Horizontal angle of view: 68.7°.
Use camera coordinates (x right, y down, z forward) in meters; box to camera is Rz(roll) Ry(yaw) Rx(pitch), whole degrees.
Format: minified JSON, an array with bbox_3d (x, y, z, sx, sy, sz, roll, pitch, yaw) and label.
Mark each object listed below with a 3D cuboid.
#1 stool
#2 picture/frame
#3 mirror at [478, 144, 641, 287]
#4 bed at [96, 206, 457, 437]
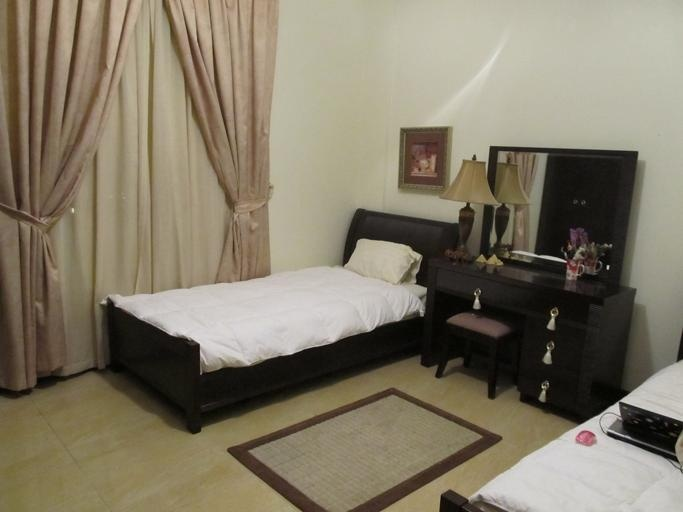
[{"bbox_3d":[1.082,0.650,4.003,0.584,0.638,0.639,-4,14,-38],"label":"stool"},{"bbox_3d":[0.804,-0.928,4.707,0.669,0.806,0.084,8,10,44],"label":"picture/frame"},{"bbox_3d":[1.677,-0.304,3.778,0.926,0.997,0.064,15,19,40],"label":"mirror"},{"bbox_3d":[-0.394,0.252,4.212,2.567,1.415,1.391,-6,11,-40],"label":"bed"}]
